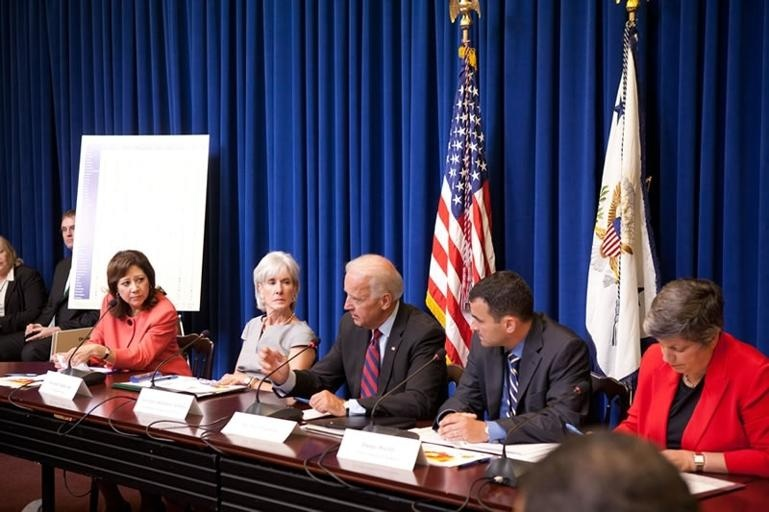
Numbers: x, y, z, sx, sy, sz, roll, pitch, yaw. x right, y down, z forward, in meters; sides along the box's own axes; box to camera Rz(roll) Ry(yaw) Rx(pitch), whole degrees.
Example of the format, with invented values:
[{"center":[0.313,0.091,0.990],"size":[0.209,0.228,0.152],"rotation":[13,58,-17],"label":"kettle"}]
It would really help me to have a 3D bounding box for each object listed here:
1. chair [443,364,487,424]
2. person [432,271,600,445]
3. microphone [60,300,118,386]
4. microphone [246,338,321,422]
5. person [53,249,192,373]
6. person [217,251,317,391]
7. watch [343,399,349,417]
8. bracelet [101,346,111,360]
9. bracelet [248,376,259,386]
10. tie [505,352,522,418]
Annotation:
[{"center":[0.443,0.754,3.942],"size":[0.260,0.401,0.297],"rotation":[0,0,5],"label":"chair"},{"center":[0.619,0.769,3.472],"size":[0.691,1.318,0.660],"rotation":[-3,5,14],"label":"person"},{"center":[-1.731,0.565,3.945],"size":[0.289,0.167,0.334],"rotation":[-23,-27,-2],"label":"microphone"},{"center":[-0.542,0.635,3.337],"size":[0.220,0.257,0.144],"rotation":[-1,-2,-44],"label":"microphone"},{"center":[-1.615,0.401,4.458],"size":[0.624,0.826,0.886],"rotation":[3,3,7],"label":"person"},{"center":[-0.757,0.462,4.253],"size":[0.618,0.923,0.642],"rotation":[7,-1,-36],"label":"person"},{"center":[-0.185,0.747,3.439],"size":[0.011,0.045,0.041],"rotation":[11,4,-41],"label":"watch"},{"center":[-1.648,0.577,4.122],"size":[0.038,0.060,0.061],"rotation":[25,1,-29],"label":"bracelet"},{"center":[-0.743,0.709,3.935],"size":[0.033,0.052,0.018],"rotation":[2,1,-17],"label":"bracelet"},{"center":[0.638,0.638,3.455],"size":[0.053,0.320,0.050],"rotation":[-2,-12,2],"label":"tie"}]
